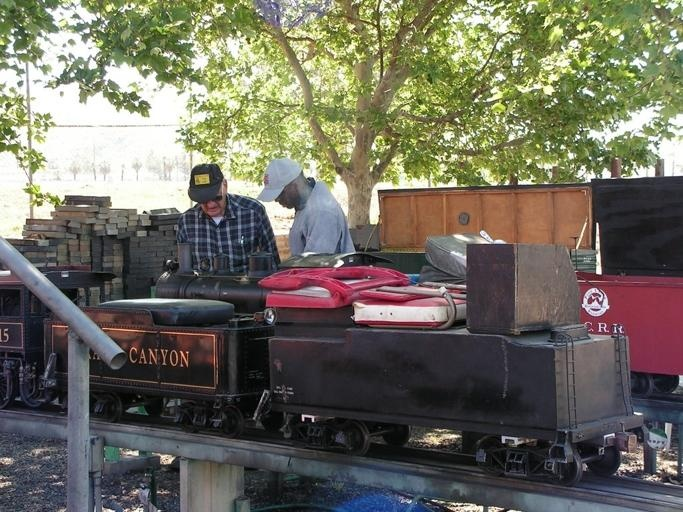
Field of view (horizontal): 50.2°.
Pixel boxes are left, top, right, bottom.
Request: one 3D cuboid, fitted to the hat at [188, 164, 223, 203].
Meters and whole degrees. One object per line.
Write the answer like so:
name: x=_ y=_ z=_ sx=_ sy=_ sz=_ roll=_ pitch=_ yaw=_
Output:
hat: x=-1.562 y=-0.836 z=8.361 sx=0.384 sy=0.450 sz=0.356 roll=0 pitch=-6 yaw=-8
